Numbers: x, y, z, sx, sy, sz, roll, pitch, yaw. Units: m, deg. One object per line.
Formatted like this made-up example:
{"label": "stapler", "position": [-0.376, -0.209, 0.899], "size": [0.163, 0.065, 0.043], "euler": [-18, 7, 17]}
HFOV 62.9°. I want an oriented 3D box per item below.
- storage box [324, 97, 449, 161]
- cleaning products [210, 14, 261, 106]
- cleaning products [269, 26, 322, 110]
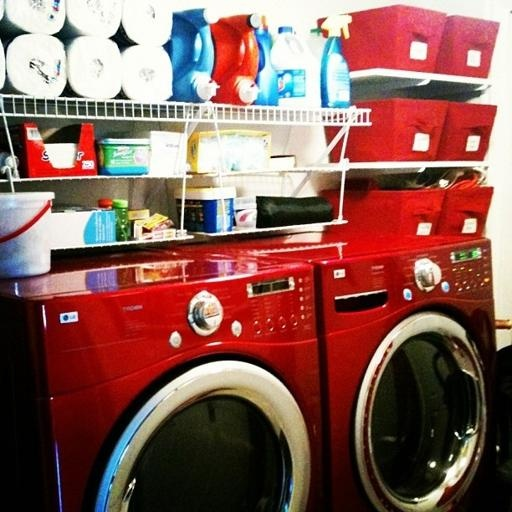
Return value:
{"label": "storage box", "position": [0.640, -0.572, 2.078], "size": [0.295, 0.244, 0.435], "euler": [-10, 15, -39]}
{"label": "cleaning products", "position": [-0.080, -0.680, 1.443], "size": [0.133, 0.314, 0.244], "euler": [-17, 25, -41]}
{"label": "cleaning products", "position": [0.166, -0.800, 1.726], "size": [0.199, 0.118, 0.324], "euler": [1, -31, 6]}
